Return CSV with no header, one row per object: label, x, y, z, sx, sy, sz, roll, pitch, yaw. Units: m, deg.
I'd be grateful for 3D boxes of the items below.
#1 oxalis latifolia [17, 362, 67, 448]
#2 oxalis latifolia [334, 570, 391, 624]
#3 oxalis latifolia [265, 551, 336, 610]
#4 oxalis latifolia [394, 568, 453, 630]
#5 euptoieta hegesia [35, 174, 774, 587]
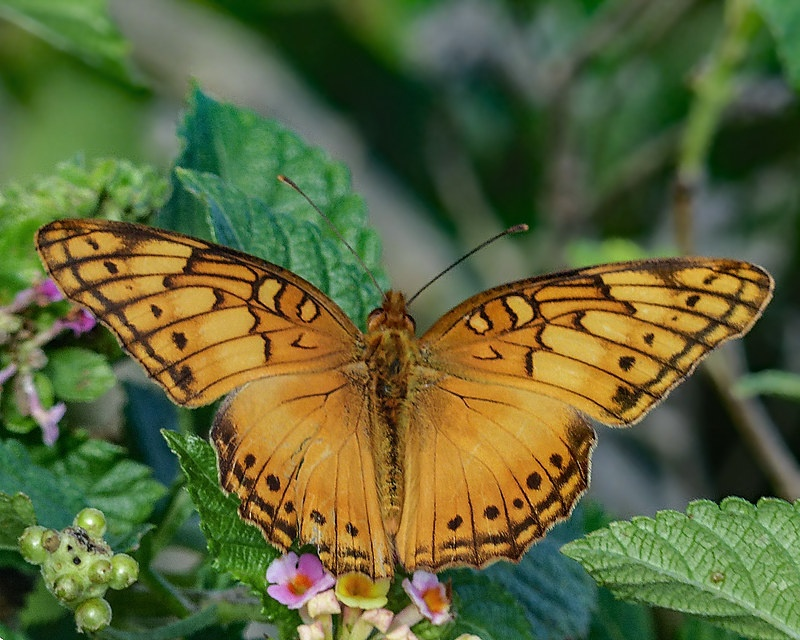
oxalis latifolia,-0.660,0.152,1.955,0.068,0.122,0.092,-17,23,-21
oxalis latifolia,-0.069,0.484,1.871,0.093,0.089,0.074,1,61,10
oxalis latifolia,-0.182,0.451,1.856,0.085,0.156,0.106,7,100,19
oxalis latifolia,0.045,0.487,1.865,0.099,0.096,0.108,0,61,9
euptoieta hegesia,0.020,0.140,1.947,1.257,0.624,0.541,-5,60,7
